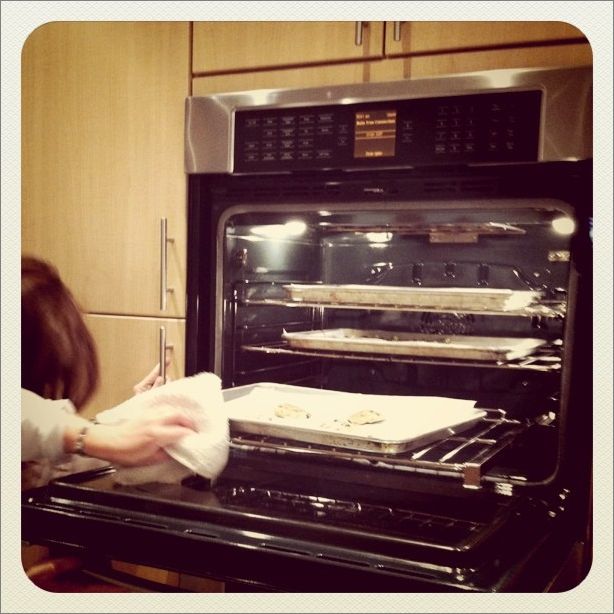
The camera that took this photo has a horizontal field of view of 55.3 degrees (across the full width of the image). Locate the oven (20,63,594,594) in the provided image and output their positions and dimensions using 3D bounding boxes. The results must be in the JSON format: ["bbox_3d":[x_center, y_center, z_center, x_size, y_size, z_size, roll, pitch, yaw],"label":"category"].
[{"bbox_3d":[0.054,0.025,0.964,0.801,0.701,0.696,2,1,34],"label":"oven"}]
